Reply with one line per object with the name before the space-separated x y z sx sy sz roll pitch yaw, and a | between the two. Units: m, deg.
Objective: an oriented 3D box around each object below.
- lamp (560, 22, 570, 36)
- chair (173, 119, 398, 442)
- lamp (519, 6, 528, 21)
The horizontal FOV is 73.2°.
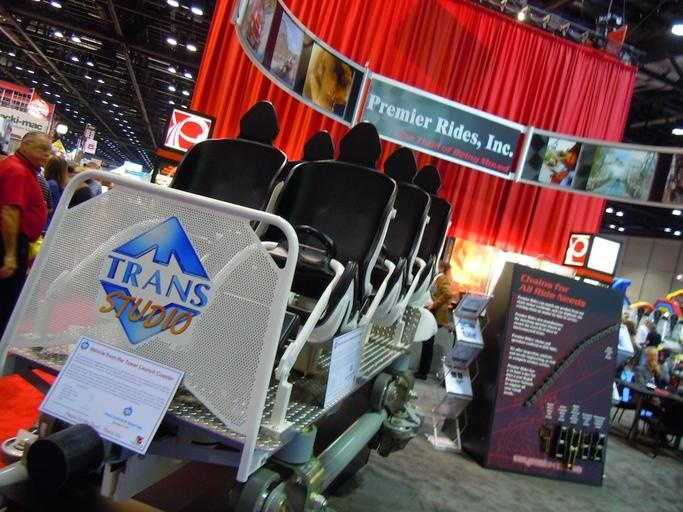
lamp | 4.369 -4.463 9.018 0.149 0.214 0.373 13 1 29
chair | -0.183 -0.121 2.462 0.787 1.184 0.928 19 12 29
lamp | 3.411 -4.558 8.664 0.134 0.093 0.159 -18 -32 -25
